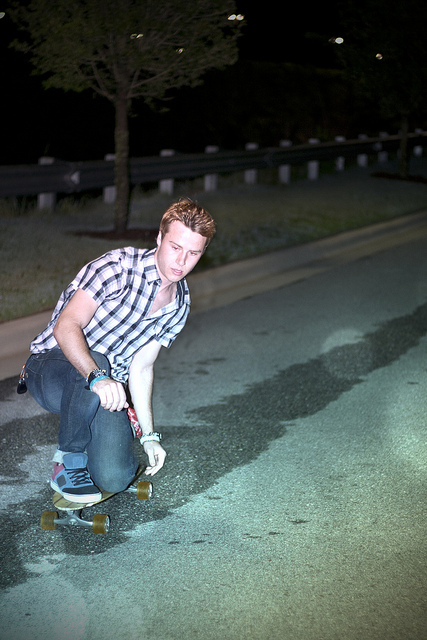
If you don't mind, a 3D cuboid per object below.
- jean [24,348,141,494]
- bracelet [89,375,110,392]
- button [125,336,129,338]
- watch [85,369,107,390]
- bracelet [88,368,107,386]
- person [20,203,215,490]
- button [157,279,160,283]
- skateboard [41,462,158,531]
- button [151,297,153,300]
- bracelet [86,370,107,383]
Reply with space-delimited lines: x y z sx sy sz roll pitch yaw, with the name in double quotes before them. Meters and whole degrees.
"jean" -0.583 0.418 2.703 0.459 0.746 0.341 -22 -4 -27
"bracelet" -0.459 0.252 2.354 0.081 0.057 0.054 -4 13 -15
"button" -0.415 0.077 2.775 0.011 0.009 0.002 6 0 -10
"watch" -0.487 0.242 2.410 0.093 0.077 0.054 -10 37 -35
"bracelet" -0.479 0.221 2.354 0.070 0.043 0.073 -40 -12 23
"person" -0.415 0.152 2.730 0.774 1.377 0.836 -8 15 -27
"button" -0.249 -0.179 2.619 0.019 0.014 0.004 0 -3 -5
"skateboard" -0.512 0.764 2.615 0.375 0.234 0.515 2 12 13
"button" -0.283 -0.101 2.652 0.015 0.013 0.003 19 -9 -11
"bracelet" -0.490 0.234 2.402 0.072 0.063 0.044 -13 46 -42
